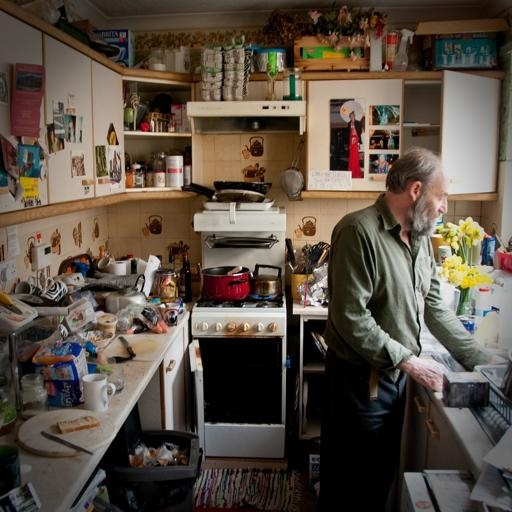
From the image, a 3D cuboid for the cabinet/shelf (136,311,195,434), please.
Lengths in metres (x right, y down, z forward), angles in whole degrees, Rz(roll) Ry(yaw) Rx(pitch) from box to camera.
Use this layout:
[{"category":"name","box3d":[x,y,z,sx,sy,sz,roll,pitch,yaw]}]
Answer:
[{"category":"cabinet/shelf","box3d":[-0.440,0.536,2.235,0.175,0.532,0.539,-1,15,0]}]

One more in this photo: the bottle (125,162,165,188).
[{"category":"bottle","box3d":[-0.659,-0.458,2.781,0.159,0.113,0.172,1,7,0]}]

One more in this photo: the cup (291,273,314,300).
[{"category":"cup","box3d":[0.261,0.176,2.763,0.113,0.156,0.144,1,2,-1]}]

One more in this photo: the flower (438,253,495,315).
[{"category":"flower","box3d":[0.958,0.101,2.230,0.243,0.327,0.247,-6,6,-39]}]

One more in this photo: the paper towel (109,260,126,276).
[{"category":"paper towel","box3d":[-0.798,0.067,2.724,0.093,0.070,0.060,-6,10,-23]}]

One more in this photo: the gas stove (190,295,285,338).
[{"category":"gas stove","box3d":[-0.097,0.346,2.614,0.515,0.175,0.210,-3,9,-1]}]

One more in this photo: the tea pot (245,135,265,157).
[{"category":"tea pot","box3d":[-0.007,-0.702,3.030,0.076,0.150,0.051,-2,8,2]}]

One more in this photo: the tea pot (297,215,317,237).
[{"category":"tea pot","box3d":[0.343,-0.202,3.106,0.082,0.158,0.144,10,18,28]}]

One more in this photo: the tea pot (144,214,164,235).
[{"category":"tea pot","box3d":[-0.690,-0.215,3.198,0.078,0.151,0.033,-2,9,2]}]

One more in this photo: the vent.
[{"category":"vent","box3d":[-0.064,-0.804,2.726,0.694,0.208,0.301,-2,9,3]}]

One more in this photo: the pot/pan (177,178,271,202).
[{"category":"pot/pan","box3d":[-0.187,-0.388,2.843,0.540,0.131,0.326,6,13,41]}]

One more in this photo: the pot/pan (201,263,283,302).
[{"category":"pot/pan","box3d":[-0.091,0.156,2.716,0.336,0.159,0.240,0,4,-19]}]

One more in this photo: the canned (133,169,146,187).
[{"category":"canned","box3d":[-0.691,-0.456,2.780,0.075,0.144,0.088,0,7,-2]}]

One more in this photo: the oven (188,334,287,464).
[{"category":"oven","box3d":[-0.085,0.776,2.782,0.502,0.876,0.643,0,1,1]}]

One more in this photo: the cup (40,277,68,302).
[{"category":"cup","box3d":[-0.872,0.155,2.032,0.077,0.088,0.189,-3,9,-7]}]

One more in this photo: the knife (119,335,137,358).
[{"category":"knife","box3d":[-0.560,0.389,2.037,0.027,0.042,0.328,14,6,-24]}]

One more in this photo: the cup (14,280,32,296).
[{"category":"cup","box3d":[-0.975,0.132,1.979,0.060,0.046,0.068,-10,12,-38]}]

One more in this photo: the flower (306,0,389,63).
[{"category":"flower","box3d":[0.499,-1.240,2.643,0.432,0.263,0.177,0,9,16]}]

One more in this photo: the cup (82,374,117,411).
[{"category":"cup","box3d":[-0.515,0.444,1.586,0.116,0.121,0.079,5,3,14]}]

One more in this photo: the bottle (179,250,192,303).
[{"category":"bottle","box3d":[-0.448,0.118,2.971,0.077,0.296,0.260,-3,9,-7]}]

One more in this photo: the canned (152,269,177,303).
[{"category":"canned","box3d":[-0.538,0.169,2.778,0.128,0.204,0.184,1,-1,-3]}]

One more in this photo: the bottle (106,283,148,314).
[{"category":"bottle","box3d":[-0.640,0.207,2.375,0.171,0.189,0.109,1,11,0]}]
